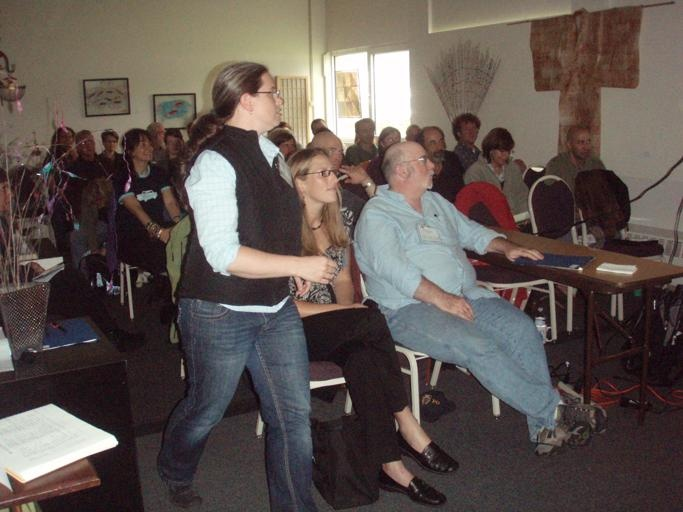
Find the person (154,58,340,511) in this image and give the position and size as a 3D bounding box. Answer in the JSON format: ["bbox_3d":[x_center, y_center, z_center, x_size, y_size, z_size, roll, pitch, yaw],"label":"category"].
[{"bbox_3d":[-0.408,0.241,2.217,0.752,1.945,0.490,-5,14,-7],"label":"person"}]

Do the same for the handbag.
[{"bbox_3d":[0.001,0.946,2.555,0.348,0.396,0.151,-10,-11,-14],"label":"handbag"}]

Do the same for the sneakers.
[{"bbox_3d":[1.184,0.859,2.856,0.327,0.157,0.258,-7,4,-18],"label":"sneakers"}]

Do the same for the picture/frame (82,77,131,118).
[{"bbox_3d":[-3.770,-2.487,8.648,0.623,0.543,0.061,-11,20,-35],"label":"picture/frame"}]

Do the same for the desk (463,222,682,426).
[{"bbox_3d":[1.397,0.439,3.364,0.376,0.659,1.075,-6,11,-22],"label":"desk"}]

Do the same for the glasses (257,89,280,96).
[{"bbox_3d":[-0.279,-0.629,2.136,0.041,0.022,0.149,3,16,21],"label":"glasses"}]

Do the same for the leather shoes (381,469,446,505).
[{"bbox_3d":[0.330,1.080,2.627,0.307,0.099,0.120,5,13,31],"label":"leather shoes"}]
